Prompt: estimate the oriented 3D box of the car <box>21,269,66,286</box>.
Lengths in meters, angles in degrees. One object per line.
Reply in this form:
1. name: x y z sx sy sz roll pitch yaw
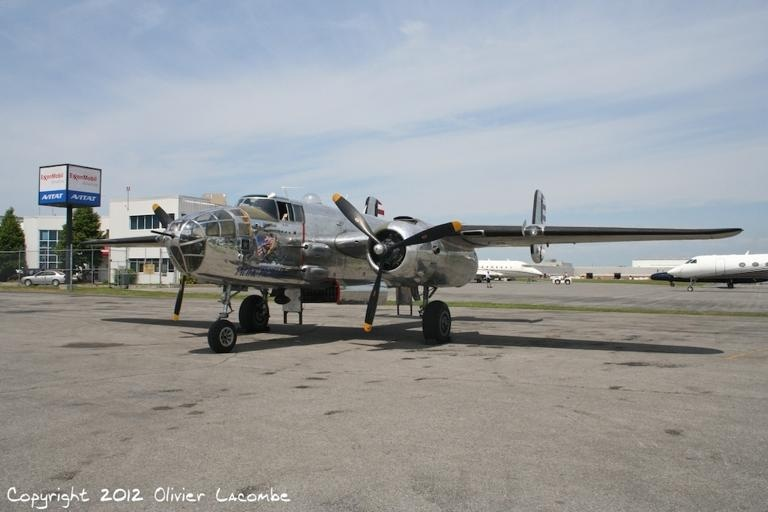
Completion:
1. car: -33.665 2.218 52.738 4.146 1.012 1.633 2 -2 -6
